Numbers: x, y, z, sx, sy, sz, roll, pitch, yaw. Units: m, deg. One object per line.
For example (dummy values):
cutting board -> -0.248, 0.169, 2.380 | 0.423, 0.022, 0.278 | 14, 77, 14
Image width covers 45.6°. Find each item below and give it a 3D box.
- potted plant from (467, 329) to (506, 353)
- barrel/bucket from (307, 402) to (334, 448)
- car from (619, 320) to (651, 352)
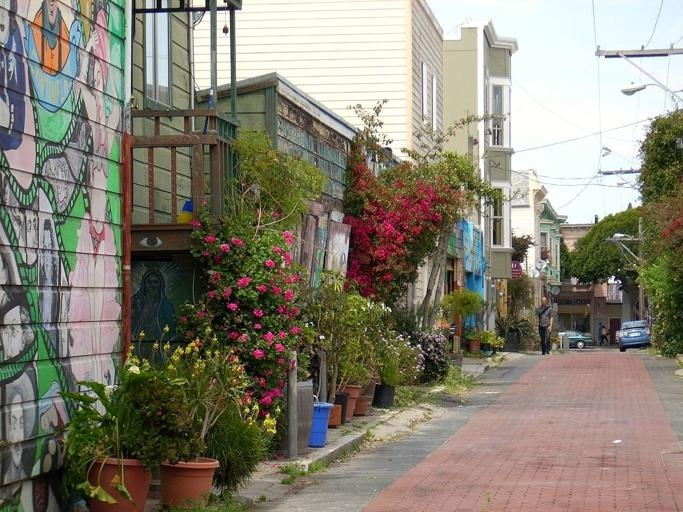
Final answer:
potted plant -> 5.390, 3.266, 31.255 | 0.913, 0.904, 1.200 | 0, -2, 7
barrel/bucket -> -0.333, 2.482, 12.013 | 0.521, 0.697, 0.518 | 3, -6, 0
car -> 16.535, 4.633, 46.311 | 1.310, 1.380, 3.349 | -1, 4, 13
